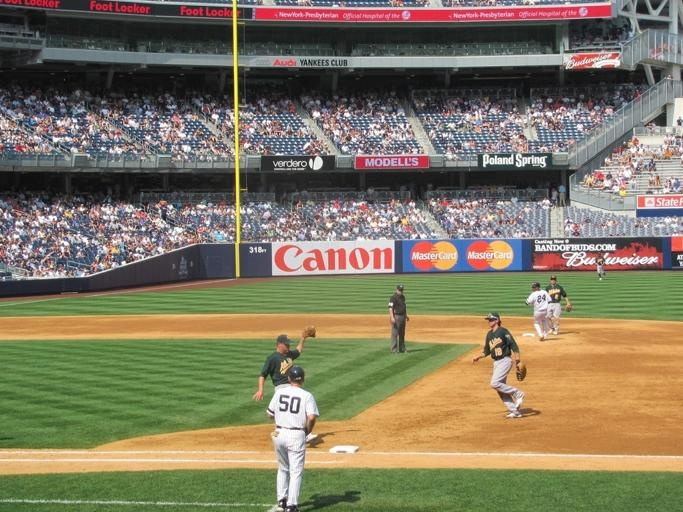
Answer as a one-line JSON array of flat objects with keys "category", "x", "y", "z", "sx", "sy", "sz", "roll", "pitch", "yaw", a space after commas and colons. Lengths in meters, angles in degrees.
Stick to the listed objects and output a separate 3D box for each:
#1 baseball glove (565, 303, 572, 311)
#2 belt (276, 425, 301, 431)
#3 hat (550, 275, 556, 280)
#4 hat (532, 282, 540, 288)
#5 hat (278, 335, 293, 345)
[{"category": "baseball glove", "x": 12.376, "y": 2.892, "z": 86.830, "sx": 0.435, "sy": 0.277, "sz": 0.651, "roll": -2, "pitch": 4, "yaw": 5}, {"category": "belt", "x": -2.304, "y": 7.898, "z": 73.879, "sx": 1.131, "sy": 0.244, "sz": 0.181, "roll": -2, "pitch": -1, "yaw": -4}, {"category": "hat", "x": 11.892, "y": 1.283, "z": 89.567, "sx": 0.301, "sy": 0.236, "sz": 0.518, "roll": 1, "pitch": 2, "yaw": 5}, {"category": "hat", "x": 10.537, "y": 1.652, "z": 85.980, "sx": 0.443, "sy": 0.260, "sz": 0.341, "roll": 4, "pitch": 4, "yaw": -6}, {"category": "hat", "x": -2.601, "y": 3.974, "z": 75.377, "sx": 0.473, "sy": 0.308, "sz": 0.382, "roll": 2, "pitch": 3, "yaw": -1}]
